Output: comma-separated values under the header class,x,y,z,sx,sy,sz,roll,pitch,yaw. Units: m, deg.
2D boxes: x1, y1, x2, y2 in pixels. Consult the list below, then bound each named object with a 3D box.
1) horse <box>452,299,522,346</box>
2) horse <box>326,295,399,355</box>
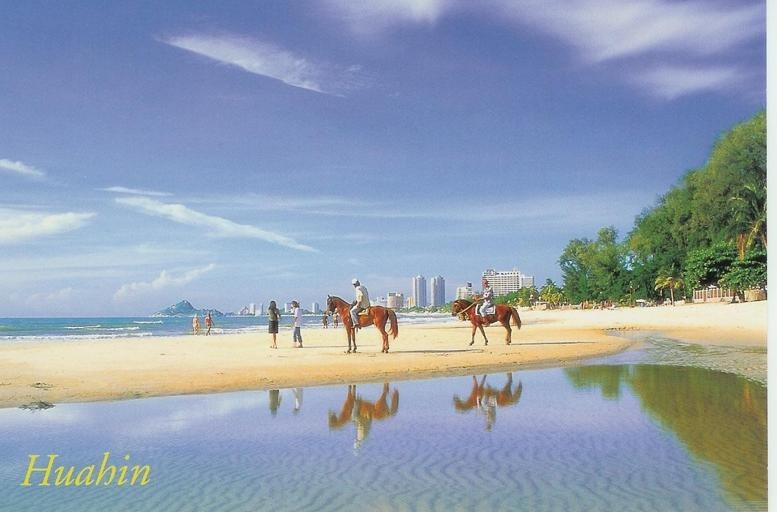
class,x,y,z,sx,sy,sz,roll,pitch,yaw
horse,5.298,3.546,30.006,3.011,2.538,4.481,-1,-2,17
horse,-1.194,3.105,25.555,3.583,2.534,0.848,-3,-5,16
